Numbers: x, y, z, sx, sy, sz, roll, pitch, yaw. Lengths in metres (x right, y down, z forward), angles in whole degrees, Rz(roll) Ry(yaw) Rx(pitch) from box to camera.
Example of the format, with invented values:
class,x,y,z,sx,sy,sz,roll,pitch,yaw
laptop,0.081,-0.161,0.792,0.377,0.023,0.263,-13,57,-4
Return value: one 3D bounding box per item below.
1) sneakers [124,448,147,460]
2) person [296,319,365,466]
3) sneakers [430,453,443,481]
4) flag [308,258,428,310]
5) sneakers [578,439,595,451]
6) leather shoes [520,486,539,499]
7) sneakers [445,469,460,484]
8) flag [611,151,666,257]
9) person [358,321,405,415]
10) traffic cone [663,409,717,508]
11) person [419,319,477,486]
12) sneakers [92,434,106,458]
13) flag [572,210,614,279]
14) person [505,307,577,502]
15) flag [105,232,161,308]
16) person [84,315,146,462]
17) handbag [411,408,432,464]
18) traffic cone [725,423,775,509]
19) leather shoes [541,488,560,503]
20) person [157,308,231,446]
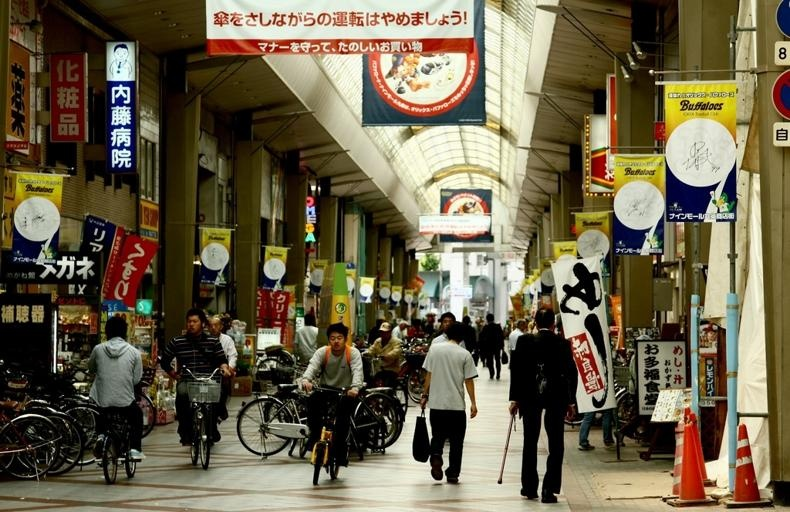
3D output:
class,x,y,z,sx,sy,sz,roll,pitch,yaw
sneakers,-3.686,2.877,14.278,0.093,0.106,0.246,4,-5,19
person,-0.921,2.024,14.408,0.876,2.041,0.843,2,-9,-5
sneakers,0.608,3.006,14.125,0.139,0.381,0.144,-3,11,-7
flag,-1.152,1.424,49.072,3.814,2.537,3.974,3,-1,-8
sneakers,3.313,3.245,16.899,0.336,0.152,0.121,-1,4,-34
leather shoes,1.806,3.181,13.231,0.101,0.132,0.280,1,-8,-25
sneakers,0.827,3.164,14.216,0.179,0.202,0.223,1,-10,4
flag,4.591,-0.942,18.634,0.998,2.115,0.016,0,28,12
person,-0.211,2.091,19.875,0.946,1.055,1.605,1,-7,-4
traffic cone,3.816,2.619,12.860,0.597,1.235,0.466,4,-10,-13
person,0.779,2.116,14.269,0.767,2.280,0.365,1,-9,1
sneakers,-4.098,2.630,13.692,0.127,0.402,0.164,2,-1,15
flag,5.038,-0.315,25.160,0.938,1.718,0.047,0,12,20
person,1.995,2.131,13.269,0.873,2.294,0.341,0,-9,6
flag,-5.239,0.241,19.437,0.935,1.533,0.634,3,-10,-12
person,-3.944,1.881,14.173,0.773,2.056,0.489,10,-12,-41
handbag,0.382,2.607,14.467,0.183,0.780,0.279,7,-11,-17
traffic cone,4.414,2.639,12.438,0.546,1.021,0.414,6,-11,-28
leather shoes,2.081,3.190,13.145,0.105,0.210,0.327,1,1,25
person,-3.058,1.832,15.095,1.031,2.076,0.616,4,-10,-14
